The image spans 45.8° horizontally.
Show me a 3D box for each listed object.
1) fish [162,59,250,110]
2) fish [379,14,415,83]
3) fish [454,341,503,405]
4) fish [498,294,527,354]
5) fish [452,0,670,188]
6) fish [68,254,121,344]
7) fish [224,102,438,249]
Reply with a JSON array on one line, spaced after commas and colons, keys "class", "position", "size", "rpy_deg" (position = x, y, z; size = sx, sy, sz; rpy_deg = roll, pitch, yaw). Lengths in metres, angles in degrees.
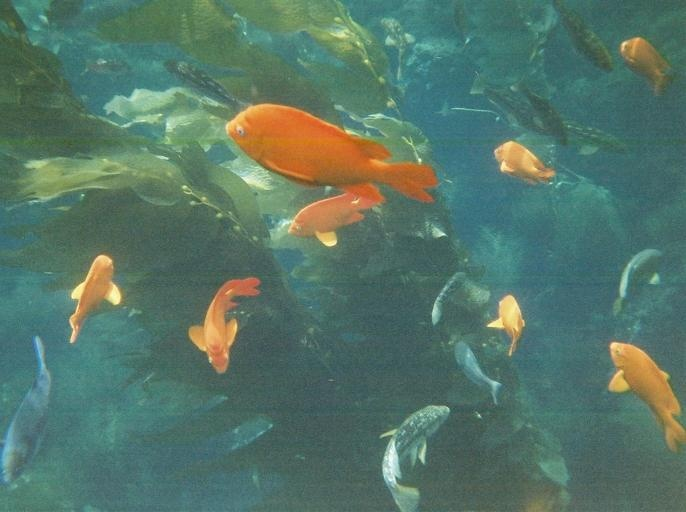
[{"class": "fish", "position": [-0.657, -0.844, 3.971], "size": [0.089, 0.395, 0.148], "rpy_deg": [-62, 5, -36]}, {"class": "fish", "position": [0.277, -1.034, 4.012], "size": [0.148, 0.287, 0.042], "rpy_deg": [-11, 16, -3]}, {"class": "fish", "position": [0.705, 0.624, 4.312], "size": [0.109, 0.332, 0.129], "rpy_deg": [-27, -20, -36]}, {"class": "fish", "position": [0.889, 0.380, 4.279], "size": [0.125, 0.344, 0.130], "rpy_deg": [-4, 19, 23]}, {"class": "fish", "position": [1.110, -0.915, 4.342], "size": [1.331, 0.557, 0.384], "rpy_deg": [28, 14, -8]}, {"class": "fish", "position": [-1.253, 0.215, 4.174], "size": [0.228, 0.426, 0.145], "rpy_deg": [26, 16, 7]}, {"class": "fish", "position": [-0.047, -0.439, 3.572], "size": [0.847, 0.521, 0.150], "rpy_deg": [-11, 18, -1]}]
